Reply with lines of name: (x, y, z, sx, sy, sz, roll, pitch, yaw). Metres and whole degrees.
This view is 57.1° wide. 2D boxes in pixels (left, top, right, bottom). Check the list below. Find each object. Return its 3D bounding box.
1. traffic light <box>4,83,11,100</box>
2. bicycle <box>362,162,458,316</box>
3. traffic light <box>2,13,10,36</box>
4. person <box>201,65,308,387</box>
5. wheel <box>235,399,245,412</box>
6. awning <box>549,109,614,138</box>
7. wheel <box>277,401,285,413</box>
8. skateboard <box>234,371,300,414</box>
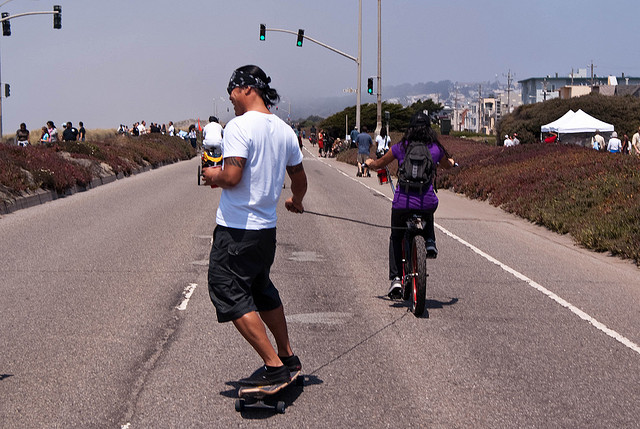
traffic light: (-16.754, -6.661, 31.742, 0.197, 0.656, 2.411, -4, 12, -29)
bicycle: (1.298, 0.612, 8.947, 0.999, 1.360, 1.995, 1, 9, -1)
traffic light: (-16.785, -10.271, 31.600, 0.314, 1.148, 1.400, -4, 11, -28)
person: (-0.660, 0.106, 5.943, 0.988, 3.156, 0.764, -1, 8, -13)
wheel: (-0.787, 1.924, 5.847, 0.100, 0.141, 0.078, -2, 9, -19)
awning: (20.763, -7.041, 46.904, 4.368, 1.936, 2.146, -2, 10, -16)
wheel: (-0.383, 1.930, 5.829, 0.088, 0.109, 0.088, -1, 9, 0)
skateboard: (-0.547, 1.825, 5.953, 0.607, 0.323, 0.313, 1, 9, -3)
